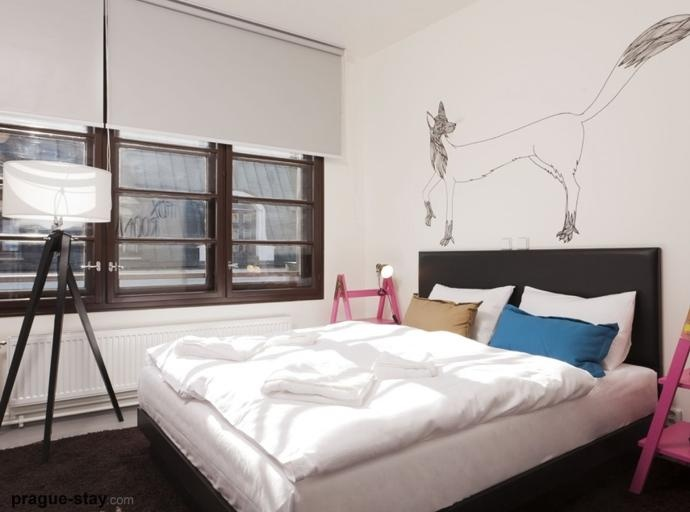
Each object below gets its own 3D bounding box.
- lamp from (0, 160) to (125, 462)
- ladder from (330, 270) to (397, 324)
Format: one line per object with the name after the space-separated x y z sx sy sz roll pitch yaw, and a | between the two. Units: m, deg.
-2.086 0.330 3.587 0.639 1.983 0.839 3 3 28 | lamp
0.195 0.404 4.951 0.618 0.724 0.458 -1 2 -33 | ladder
